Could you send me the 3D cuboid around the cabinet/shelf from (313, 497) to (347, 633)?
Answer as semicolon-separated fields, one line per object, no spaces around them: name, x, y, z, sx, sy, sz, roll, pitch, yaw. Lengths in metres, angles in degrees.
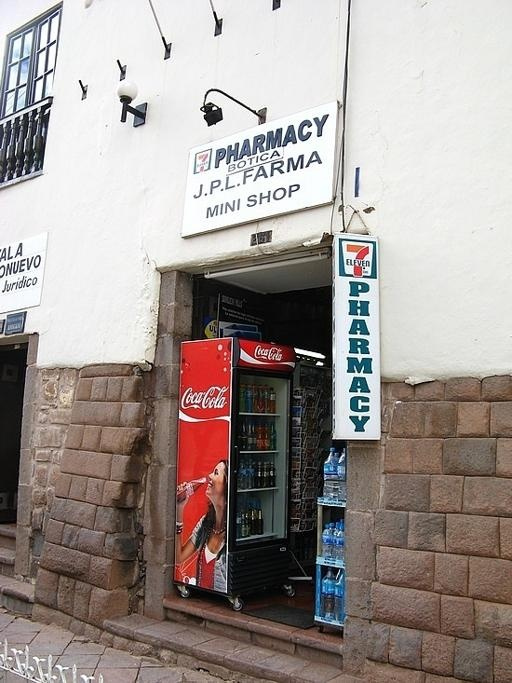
cabinet/shelf;0.551;1.508;3.787;0.375;0.788;0.374;-5;-12;37

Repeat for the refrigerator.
refrigerator;-0.275;0.981;4.767;0.723;2.148;1.019;-1;-3;43

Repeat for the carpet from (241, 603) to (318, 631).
carpet;0.233;1.999;3.992;0.670;0.044;0.451;-8;-16;43

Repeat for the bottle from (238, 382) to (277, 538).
bottle;-0.005;0.968;4.728;0.297;1.364;0.264;-1;-5;36

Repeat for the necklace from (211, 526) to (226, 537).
necklace;-0.291;1.489;4.263;0.131;0.062;0.005;-6;-14;36
